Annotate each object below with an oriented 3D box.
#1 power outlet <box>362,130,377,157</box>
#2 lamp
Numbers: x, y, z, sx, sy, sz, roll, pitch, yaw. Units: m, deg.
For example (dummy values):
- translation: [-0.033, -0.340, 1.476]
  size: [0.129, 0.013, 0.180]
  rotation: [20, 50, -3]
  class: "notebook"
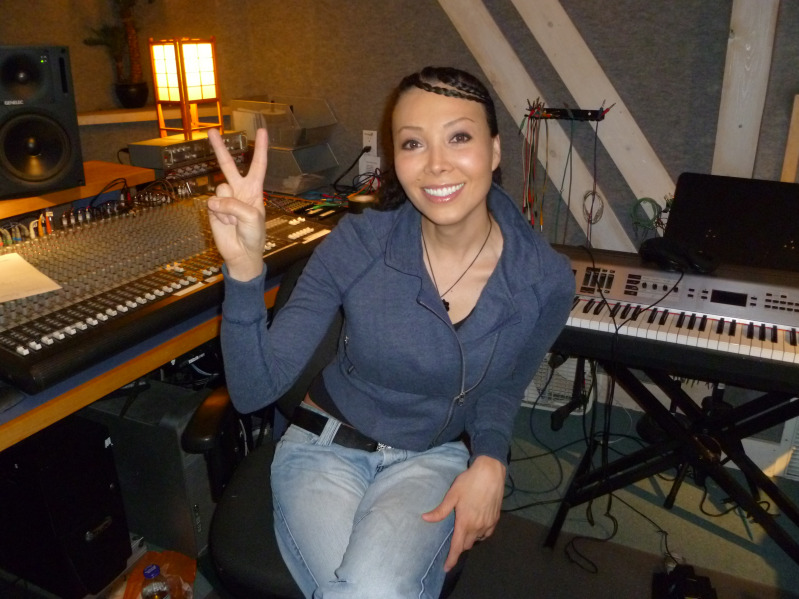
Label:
- translation: [-0.161, -0.834, 3.146]
  size: [0.124, 0.179, 0.019]
  rotation: [6, 16, 24]
  class: "power outlet"
- translation: [-0.996, -0.977, 2.731]
  size: [0.296, 0.426, 0.307]
  rotation: [0, 22, 0]
  class: "lamp"
